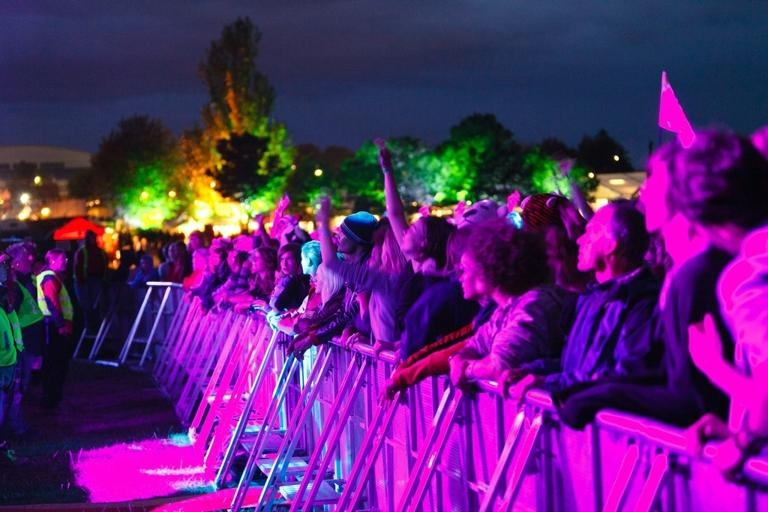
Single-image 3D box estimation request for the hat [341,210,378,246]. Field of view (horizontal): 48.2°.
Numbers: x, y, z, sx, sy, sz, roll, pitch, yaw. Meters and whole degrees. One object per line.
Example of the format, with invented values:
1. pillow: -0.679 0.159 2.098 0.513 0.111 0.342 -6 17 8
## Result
1. hat: -0.213 -0.267 7.123 0.274 0.235 0.238 -3 -49 -1
